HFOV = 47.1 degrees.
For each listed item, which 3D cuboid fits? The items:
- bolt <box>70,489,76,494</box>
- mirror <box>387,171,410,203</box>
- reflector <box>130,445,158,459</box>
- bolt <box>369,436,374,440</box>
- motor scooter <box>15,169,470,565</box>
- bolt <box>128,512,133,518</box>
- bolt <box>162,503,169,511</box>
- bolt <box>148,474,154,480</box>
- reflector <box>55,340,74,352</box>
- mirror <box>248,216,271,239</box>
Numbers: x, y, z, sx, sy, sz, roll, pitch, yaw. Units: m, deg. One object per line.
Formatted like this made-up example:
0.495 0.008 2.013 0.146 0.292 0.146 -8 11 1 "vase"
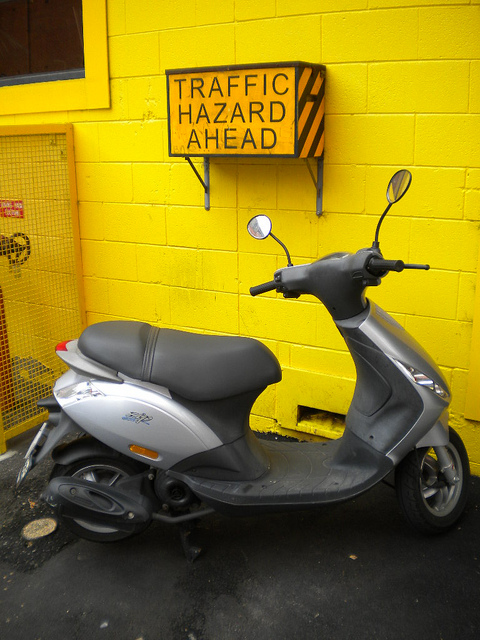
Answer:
-0.596 0.609 1.961 0.017 0.016 0.004 2 -9 -7 "bolt"
0.547 -0.466 1.926 0.042 0.104 0.098 -4 12 -16 "mirror"
-0.342 0.467 1.947 0.085 0.019 0.044 20 -29 -3 "reflector"
0.506 0.451 2.119 0.012 0.014 0.022 2 12 41 "bolt"
0.024 0.311 2.095 1.672 1.254 0.434 0 11 2 "motor scooter"
-0.394 0.696 1.973 0.021 0.019 0.005 2 -4 -6 "bolt"
-0.276 0.689 2.034 0.034 0.020 0.017 -6 11 -32 "bolt"
-0.328 0.573 2.015 0.024 0.015 0.012 -1 9 4 "bolt"
-0.661 0.097 2.068 0.057 0.009 0.048 -7 15 -43 "reflector"
0.067 -0.327 1.927 0.079 0.078 0.019 0 2 27 "mirror"
